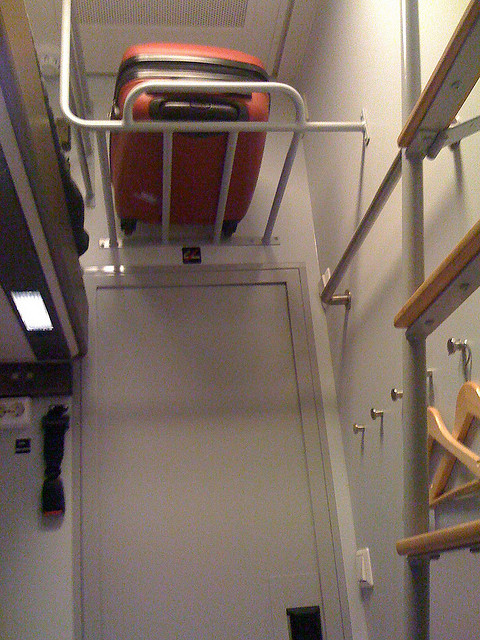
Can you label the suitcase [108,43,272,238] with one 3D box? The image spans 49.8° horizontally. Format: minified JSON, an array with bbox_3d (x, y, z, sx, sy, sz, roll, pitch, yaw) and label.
[{"bbox_3d":[-0.214,-0.838,2.061,0.569,0.906,0.652,3,76,-12],"label":"suitcase"}]
